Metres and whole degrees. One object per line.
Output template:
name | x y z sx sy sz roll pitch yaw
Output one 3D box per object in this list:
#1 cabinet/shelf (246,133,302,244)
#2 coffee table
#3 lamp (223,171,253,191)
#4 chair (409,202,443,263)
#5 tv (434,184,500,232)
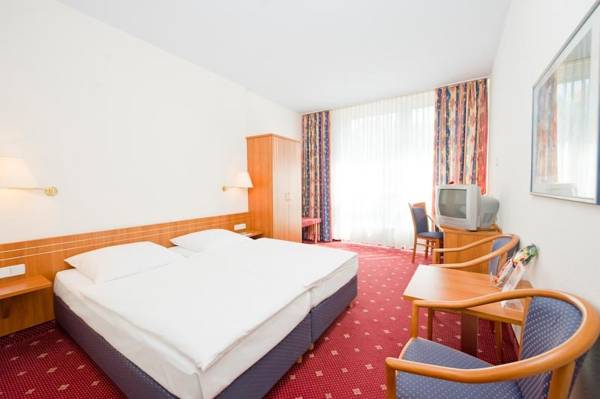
cabinet/shelf | -0.380 -0.130 6.322 0.978 1.874 0.482 -7 6 -40
coffee table | 1.477 0.840 3.490 0.693 0.242 1.047 2 5 35
lamp | -0.972 -0.272 5.823 0.382 0.218 0.294 -2 3 14
chair | 2.084 0.558 6.008 0.586 0.962 0.559 3 6 39
tv | 2.283 0.104 5.067 0.763 0.580 0.873 1 2 11
